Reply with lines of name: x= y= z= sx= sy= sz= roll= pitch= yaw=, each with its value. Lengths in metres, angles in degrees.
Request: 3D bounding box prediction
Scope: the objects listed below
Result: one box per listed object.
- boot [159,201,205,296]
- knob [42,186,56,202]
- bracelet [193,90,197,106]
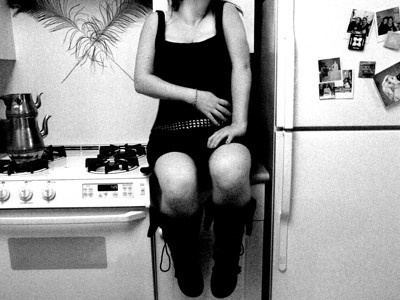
boot: x=-0.079 y=0.433 z=1.530 sx=0.180 sy=0.402 sz=0.080 roll=-1 pitch=8 yaw=-4
knob: x=-0.680 y=0.200 z=1.615 sx=0.060 sy=0.071 sz=0.027 roll=1 pitch=8 yaw=14
bracelet: x=-0.020 y=-0.224 z=1.576 sx=0.015 sy=0.066 sz=0.015 roll=-1 pitch=8 yaw=-1
